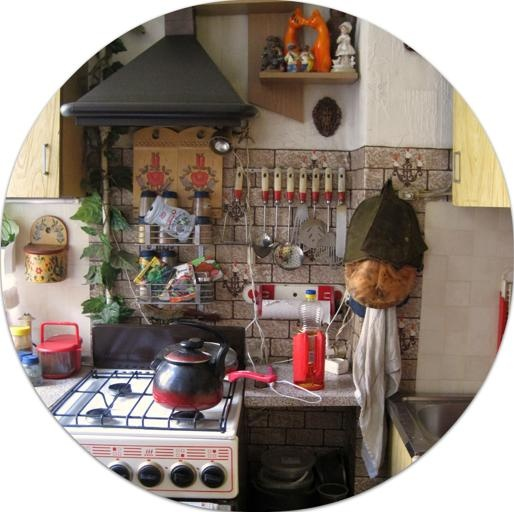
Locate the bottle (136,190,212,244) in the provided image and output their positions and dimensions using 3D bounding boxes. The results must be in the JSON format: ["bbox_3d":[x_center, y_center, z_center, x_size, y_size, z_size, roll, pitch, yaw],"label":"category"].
[{"bbox_3d":[-0.291,-0.128,2.202,0.208,0.156,0.092,26,5,-5],"label":"bottle"}]

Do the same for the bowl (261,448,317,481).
[{"bbox_3d":[0.109,0.768,2.334,0.145,0.043,0.137,1,3,0],"label":"bowl"}]

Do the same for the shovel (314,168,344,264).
[{"bbox_3d":[0.268,-0.140,2.193,0.108,0.326,0.036,1,5,3],"label":"shovel"}]

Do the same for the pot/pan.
[{"bbox_3d":[-0.167,0.315,2.064,0.307,0.090,0.207,3,-1,11],"label":"pot/pan"}]

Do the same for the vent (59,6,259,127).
[{"bbox_3d":[-0.322,-0.577,2.127,0.560,0.349,0.358,-1,2,-1],"label":"vent"}]

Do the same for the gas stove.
[{"bbox_3d":[-0.329,0.558,2.143,0.548,0.471,0.365,1,2,4],"label":"gas stove"}]

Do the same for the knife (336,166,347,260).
[{"bbox_3d":[0.299,-0.137,2.240,0.045,0.299,0.032,1,3,7],"label":"knife"}]

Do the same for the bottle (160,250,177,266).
[{"bbox_3d":[-0.319,0.008,2.295,0.061,0.061,0.058,4,7,18],"label":"bottle"}]

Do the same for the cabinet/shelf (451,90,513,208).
[{"bbox_3d":[0.725,-0.365,2.052,0.090,0.405,0.288,0,4,-4],"label":"cabinet/shelf"}]

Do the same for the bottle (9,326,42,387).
[{"bbox_3d":[-0.840,0.363,2.296,0.089,0.205,0.124,-2,4,-31],"label":"bottle"}]

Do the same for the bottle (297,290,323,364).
[{"bbox_3d":[0.196,0.250,2.242,0.086,0.250,0.124,1,4,2],"label":"bottle"}]

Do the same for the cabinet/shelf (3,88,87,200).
[{"bbox_3d":[-0.751,-0.395,2.229,0.254,0.371,0.096,-1,4,-21],"label":"cabinet/shelf"}]

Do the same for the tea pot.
[{"bbox_3d":[-0.206,0.386,2.140,0.292,0.281,0.262,2,-10,8],"label":"tea pot"}]
